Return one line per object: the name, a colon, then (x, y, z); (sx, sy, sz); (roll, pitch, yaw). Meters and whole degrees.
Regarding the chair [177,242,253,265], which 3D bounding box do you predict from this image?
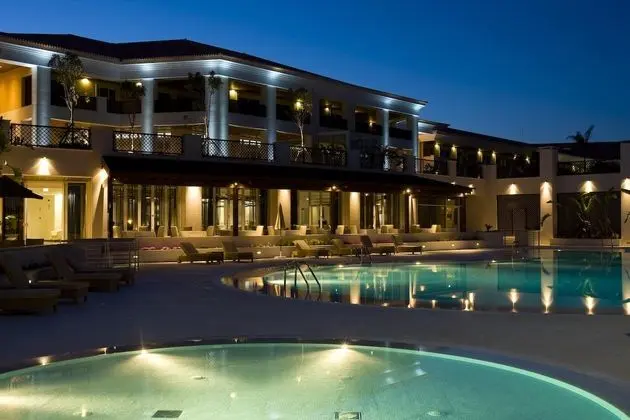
chair: (-4.611, 1.948, 25.413); (2.968, 0.892, 1.615); (3, -3, -41)
